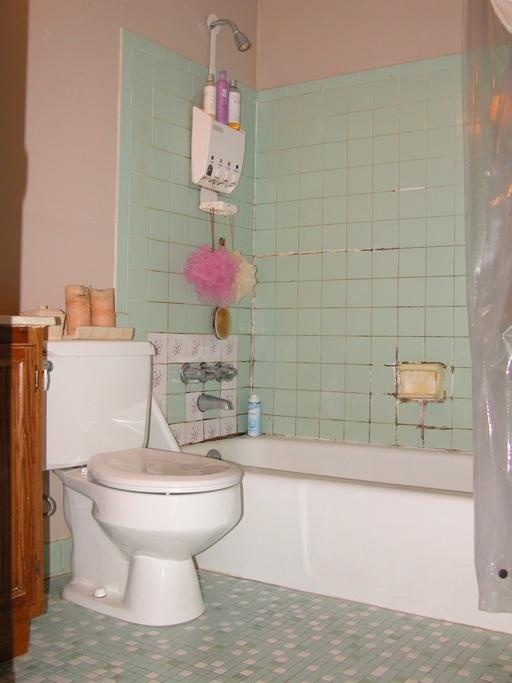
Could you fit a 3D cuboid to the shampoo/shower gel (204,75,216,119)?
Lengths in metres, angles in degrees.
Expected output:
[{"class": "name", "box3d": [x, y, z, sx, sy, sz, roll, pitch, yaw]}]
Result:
[{"class": "shampoo/shower gel", "box3d": [-0.180, -0.963, 2.296, 0.056, 0.180, 0.042, 2, -5, -20]}]

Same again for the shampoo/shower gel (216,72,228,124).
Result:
[{"class": "shampoo/shower gel", "box3d": [-0.134, -0.970, 2.343, 0.039, 0.202, 0.067, -2, -5, 23]}]

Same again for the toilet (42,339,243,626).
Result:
[{"class": "toilet", "box3d": [-0.304, 0.354, 1.568, 0.644, 0.676, 0.400, -1, -3, 32]}]

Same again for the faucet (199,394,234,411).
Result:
[{"class": "faucet", "box3d": [-0.156, 0.238, 2.330, 0.117, 0.060, 0.067, 1, 1, 20]}]

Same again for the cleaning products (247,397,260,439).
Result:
[{"class": "cleaning products", "box3d": [-0.010, 0.331, 2.597, 0.057, 0.178, 0.123, 0, -5, -1]}]
